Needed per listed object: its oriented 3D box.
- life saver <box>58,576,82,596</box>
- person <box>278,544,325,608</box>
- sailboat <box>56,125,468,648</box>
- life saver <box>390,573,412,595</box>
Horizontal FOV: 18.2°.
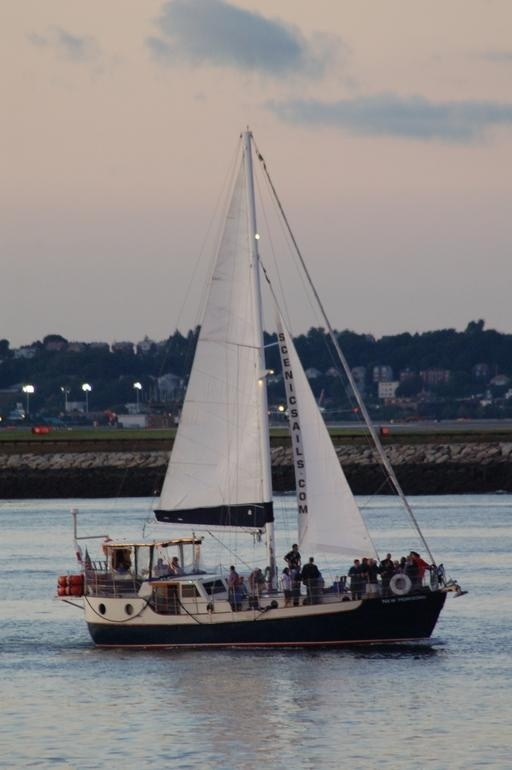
[{"bbox_3d":[-4.974,5.535,43.964,0.567,0.599,0.517,3,39,1],"label":"life saver"},{"bbox_3d":[1.443,4.957,41.787,0.845,1.606,0.832,-7,-1,40],"label":"person"},{"bbox_3d":[-0.124,0.077,42.239,8.545,13.765,3.453,-1,0,-7],"label":"sailboat"},{"bbox_3d":[3.839,5.113,41.337,0.566,0.558,0.298,-2,0,5],"label":"life saver"}]
